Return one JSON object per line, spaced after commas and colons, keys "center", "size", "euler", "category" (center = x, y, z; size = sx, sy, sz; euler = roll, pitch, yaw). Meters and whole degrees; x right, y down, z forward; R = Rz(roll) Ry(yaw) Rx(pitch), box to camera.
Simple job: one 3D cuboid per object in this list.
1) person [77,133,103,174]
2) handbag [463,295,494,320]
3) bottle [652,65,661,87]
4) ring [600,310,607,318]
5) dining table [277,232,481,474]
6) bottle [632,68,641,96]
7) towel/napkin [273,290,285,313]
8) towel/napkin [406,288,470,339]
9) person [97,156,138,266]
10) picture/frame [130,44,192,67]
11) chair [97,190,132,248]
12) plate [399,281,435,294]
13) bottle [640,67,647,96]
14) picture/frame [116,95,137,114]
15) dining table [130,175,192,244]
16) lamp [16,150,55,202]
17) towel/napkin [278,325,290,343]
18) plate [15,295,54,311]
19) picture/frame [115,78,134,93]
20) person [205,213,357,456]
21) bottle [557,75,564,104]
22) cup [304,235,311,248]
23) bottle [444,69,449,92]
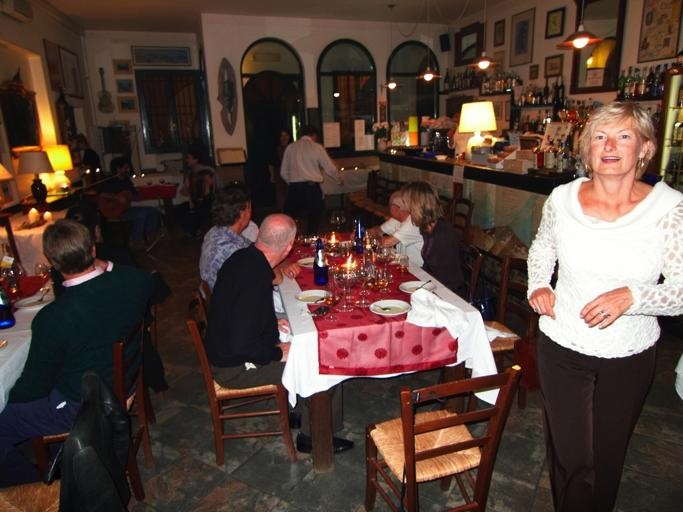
{"center": [-4.288, -1.629, 8.387], "size": [0.274, 0.885, 0.255], "euler": [-8, 0, -21], "category": "person"}
{"center": [1.034, 0.361, 3.558], "size": [0.216, 0.165, 0.229], "euler": [0, 10, -3], "category": "handbag"}
{"center": [3.700, -2.124, 5.770], "size": [0.117, 0.185, 0.142], "euler": [9, 22, 32], "category": "bottle"}
{"center": [1.114, 0.246, 2.093], "size": [0.020, 0.009, 0.029], "euler": [-6, 16, 6], "category": "ring"}
{"center": [0.136, 0.544, 3.087], "size": [0.945, 0.610, 1.160], "euler": [-3, 17, -13], "category": "dining table"}
{"center": [3.548, -2.040, 5.920], "size": [0.066, 0.189, 0.316], "euler": [7, 21, 28], "category": "bottle"}
{"center": [-0.454, 0.334, 3.620], "size": [0.124, 0.179, 0.056], "euler": [-6, -17, 11], "category": "towel/napkin"}
{"center": [0.550, 0.325, 2.852], "size": [0.249, 0.110, 0.325], "euler": [-32, 44, -26], "category": "towel/napkin"}
{"center": [-2.899, -0.604, 6.395], "size": [0.236, 1.855, 0.677], "euler": [-13, -15, 26], "category": "person"}
{"center": [-3.423, -3.830, 9.440], "size": [1.086, 0.423, 0.147], "euler": [-10, 19, -18], "category": "picture/frame"}
{"center": [-2.878, -0.462, 6.255], "size": [0.392, 0.838, 0.200], "euler": [-8, 0, -35], "category": "chair"}
{"center": [0.495, 0.199, 3.262], "size": [0.115, 0.018, 0.120], "euler": [-5, 19, -10], "category": "plate"}
{"center": [3.617, -2.076, 5.916], "size": [0.062, 0.255, 0.449], "euler": [8, 22, 29], "category": "bottle"}
{"center": [-4.127, -2.932, 9.453], "size": [0.324, 0.384, 0.025], "euler": [-4, 28, -10], "category": "picture/frame"}
{"center": [-3.125, -0.735, 8.753], "size": [1.172, 1.275, 1.177], "euler": [-1, 12, -8], "category": "dining table"}
{"center": [-3.703, -0.983, 6.019], "size": [0.365, 0.622, 0.613], "euler": [-14, 21, -30], "category": "lamp"}
{"center": [-0.368, 0.508, 3.202], "size": [0.089, 0.100, 0.029], "euler": [3, 14, 28], "category": "towel/napkin"}
{"center": [-2.008, 0.317, 3.236], "size": [0.182, 0.030, 0.189], "euler": [14, 21, 32], "category": "plate"}
{"center": [-4.113, -3.246, 9.376], "size": [0.245, 0.276, 0.061], "euler": [-7, 15, -17], "category": "picture/frame"}
{"center": [-0.461, 0.567, 3.255], "size": [0.874, 1.631, 0.645], "euler": [-5, 16, -28], "category": "person"}
{"center": [3.223, -2.442, 7.221], "size": [0.109, 0.377, 0.148], "euler": [5, 20, 23], "category": "bottle"}
{"center": [-0.289, -0.128, 4.300], "size": [0.068, 0.062, 0.078], "euler": [3, 23, 4], "category": "cup"}
{"center": [2.125, -3.527, 9.872], "size": [0.153, 0.466, 0.369], "euler": [1, 19, 10], "category": "bottle"}
